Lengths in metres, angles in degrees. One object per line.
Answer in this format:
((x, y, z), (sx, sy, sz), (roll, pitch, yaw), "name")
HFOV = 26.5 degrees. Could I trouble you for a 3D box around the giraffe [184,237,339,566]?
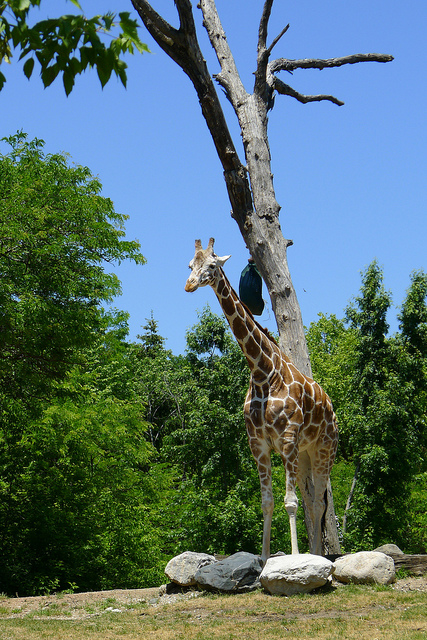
((0.830, 1.239, 13.114), (1.224, 4.431, 2.864), (-6, -15, 29), "giraffe")
